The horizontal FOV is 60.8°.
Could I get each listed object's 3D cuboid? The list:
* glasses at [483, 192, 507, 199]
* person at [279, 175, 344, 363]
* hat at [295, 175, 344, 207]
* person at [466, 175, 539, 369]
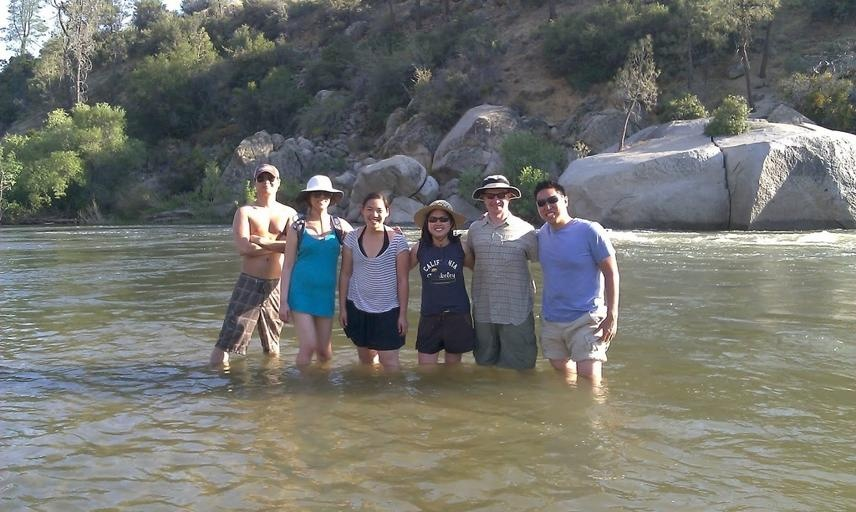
[{"bbox_3d":[1.347,-1.192,14.423,0.464,0.119,0.113,-1,1,3],"label":"glasses"},{"bbox_3d":[-2.300,0.297,14.625,1.309,3.828,0.519,-1,1,-8],"label":"person"},{"bbox_3d":[-2.144,-1.412,14.776,0.668,0.301,0.685,0,-15,-6],"label":"hat"},{"bbox_3d":[1.474,0.363,14.543,1.375,3.903,0.357,-1,1,3],"label":"person"}]
